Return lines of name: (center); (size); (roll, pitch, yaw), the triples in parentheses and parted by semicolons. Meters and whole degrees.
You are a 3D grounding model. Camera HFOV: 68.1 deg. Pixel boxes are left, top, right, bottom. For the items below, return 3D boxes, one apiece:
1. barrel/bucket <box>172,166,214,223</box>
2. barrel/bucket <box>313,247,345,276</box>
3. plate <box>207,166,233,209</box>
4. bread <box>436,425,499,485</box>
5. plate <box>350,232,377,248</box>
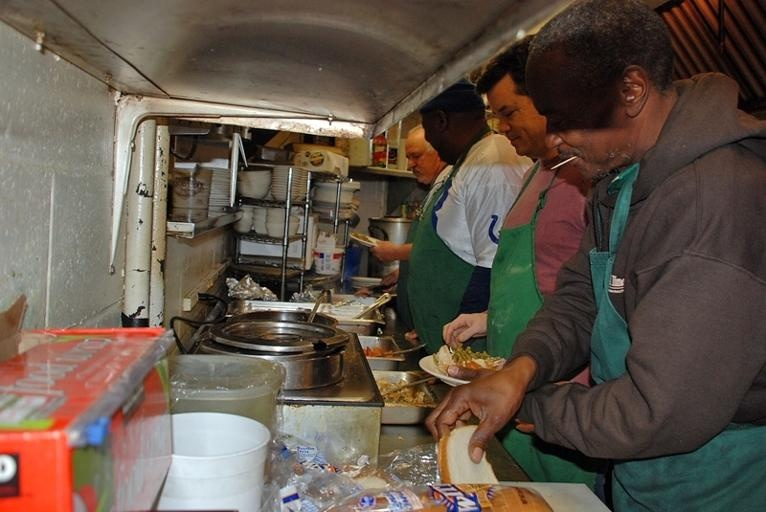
barrel/bucket: (-0.729, -0.238, 2.137); (0.145, 0.202, 0.228); (4, 4, -19)
barrel/bucket: (-0.421, 0.036, 4.258); (0.207, 0.203, 0.189); (5, 4, 0)
plate: (-0.746, -0.305, 2.589); (0.152, 0.165, 0.068); (3, 2, -31)
bread: (0.162, 0.388, 1.108); (0.110, 0.048, 0.181); (4, 4, -1)
plate: (-0.111, -0.097, 3.501); (0.157, 0.081, 0.349); (4, 4, -1)
